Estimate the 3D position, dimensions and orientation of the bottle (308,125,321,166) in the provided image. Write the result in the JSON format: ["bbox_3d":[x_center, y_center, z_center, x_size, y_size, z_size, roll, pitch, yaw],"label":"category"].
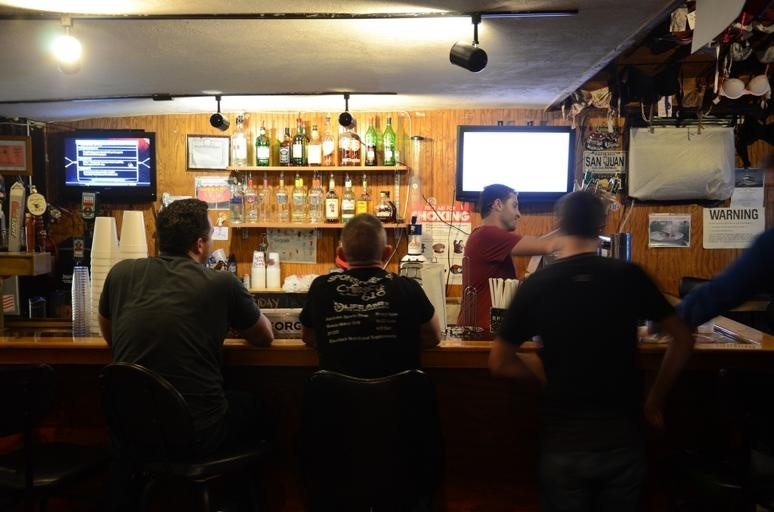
[{"bbox_3d":[-0.600,-0.930,5.846,0.117,0.336,0.262,-1,5,-5],"label":"bottle"}]

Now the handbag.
[{"bbox_3d":[2.433,-0.757,5.905,1.103,0.710,0.577,1,2,7],"label":"handbag"}]

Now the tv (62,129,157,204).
[{"bbox_3d":[-2.393,-0.812,6.028,0.730,0.551,0.080,1,2,3],"label":"tv"}]

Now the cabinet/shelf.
[{"bbox_3d":[-0.515,-0.237,5.346,1.210,0.775,0.341,0,0,0],"label":"cabinet/shelf"}]

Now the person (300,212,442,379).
[{"bbox_3d":[-0.083,0.185,3.515,0.702,0.790,0.341,-2,5,-7],"label":"person"}]

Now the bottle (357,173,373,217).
[{"bbox_3d":[-0.202,-0.534,5.853,0.122,0.311,0.238,-1,5,2],"label":"bottle"}]

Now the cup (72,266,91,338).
[{"bbox_3d":[-1.759,0.256,4.012,0.108,0.396,0.151,-3,6,-24],"label":"cup"}]

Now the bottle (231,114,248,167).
[{"bbox_3d":[-1.252,-1.005,5.952,0.142,0.436,0.220,-3,5,-17],"label":"bottle"}]

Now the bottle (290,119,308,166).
[{"bbox_3d":[-0.740,-0.965,5.876,0.154,0.397,0.261,-2,5,-8],"label":"bottle"}]

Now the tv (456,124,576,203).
[{"bbox_3d":[1.070,-0.775,5.685,0.890,0.533,0.082,1,4,2],"label":"tv"}]

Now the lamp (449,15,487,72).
[{"bbox_3d":[0.485,-1.261,4.179,0.216,0.284,0.420,0,5,6],"label":"lamp"}]

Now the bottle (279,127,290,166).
[{"bbox_3d":[-0.860,-0.930,5.892,0.095,0.322,0.213,-2,5,-8],"label":"bottle"}]

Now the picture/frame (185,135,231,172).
[{"bbox_3d":[-1.543,-0.908,6.025,0.357,0.266,0.028,0,2,-4],"label":"picture/frame"}]

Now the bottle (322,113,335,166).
[{"bbox_3d":[-0.488,-0.990,5.904,0.109,0.424,0.157,-1,5,-4],"label":"bottle"}]

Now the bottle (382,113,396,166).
[{"bbox_3d":[0.026,-0.968,5.863,0.124,0.405,0.223,-1,5,0],"label":"bottle"}]

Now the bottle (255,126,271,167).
[{"bbox_3d":[-1.042,-0.933,5.876,0.132,0.347,0.260,-2,5,-10],"label":"bottle"}]

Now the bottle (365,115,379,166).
[{"bbox_3d":[-0.132,-0.965,5.857,0.123,0.403,0.251,-1,5,1],"label":"bottle"}]
